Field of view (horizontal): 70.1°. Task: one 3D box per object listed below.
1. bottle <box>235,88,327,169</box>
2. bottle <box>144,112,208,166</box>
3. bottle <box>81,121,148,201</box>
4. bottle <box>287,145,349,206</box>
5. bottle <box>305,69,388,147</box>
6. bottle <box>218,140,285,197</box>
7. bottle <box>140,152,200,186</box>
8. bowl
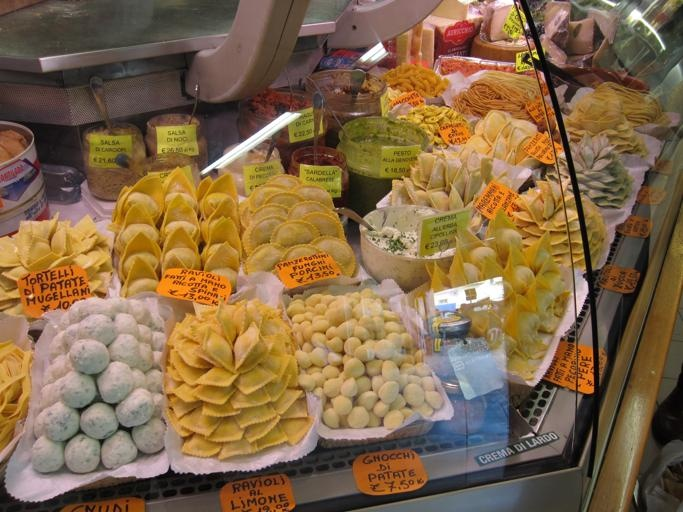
[{"bbox_3d":[-0.252,-0.487,2.141,0.330,0.341,0.353,1,39,1],"label":"bottle"},{"bbox_3d":[-0.657,-0.431,2.006,0.207,0.220,0.211,34,45,28],"label":"bottle"},{"bbox_3d":[-0.928,-0.377,2.004,0.239,0.281,0.251,12,18,8],"label":"bottle"},{"bbox_3d":[-0.110,-0.346,1.915,0.219,0.229,0.230,-4,38,-15],"label":"bottle"},{"bbox_3d":[0.032,-0.712,2.319,0.349,0.261,0.369,1,34,-1],"label":"bottle"},{"bbox_3d":[-0.350,-0.323,1.921,0.192,0.147,0.205,-4,37,3],"label":"bottle"},{"bbox_3d":[-0.675,-0.328,1.897,0.229,0.114,0.144,-2,62,-7],"label":"bottle"},{"bbox_3d":[0.216,-0.037,1.647,0.279,0.193,0.280,1,32,-1],"label":"bowl"}]
